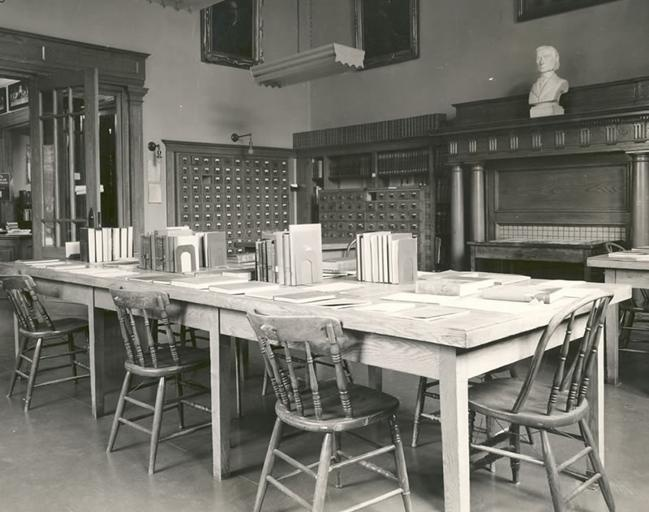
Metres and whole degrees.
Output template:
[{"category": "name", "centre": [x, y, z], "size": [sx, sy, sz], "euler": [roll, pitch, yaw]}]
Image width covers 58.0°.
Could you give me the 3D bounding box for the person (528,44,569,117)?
[{"category": "person", "centre": [2.496, -1.960, 6.541], "size": [0.402, 0.785, 0.330], "euler": [1, 10, 21]}]

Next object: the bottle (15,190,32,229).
[{"category": "bottle", "centre": [-5.395, -0.844, 10.563], "size": [0.354, 0.672, 0.122], "euler": [0, 9, 13]}]

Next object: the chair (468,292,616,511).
[{"category": "chair", "centre": [1.153, 0.667, 3.085], "size": [0.677, 1.119, 1.349], "euler": [1, 10, 23]}]

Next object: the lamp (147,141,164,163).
[{"category": "lamp", "centre": [-2.380, -1.484, 8.306], "size": [0.063, 0.288, 0.259], "euler": [3, 10, 31]}]
